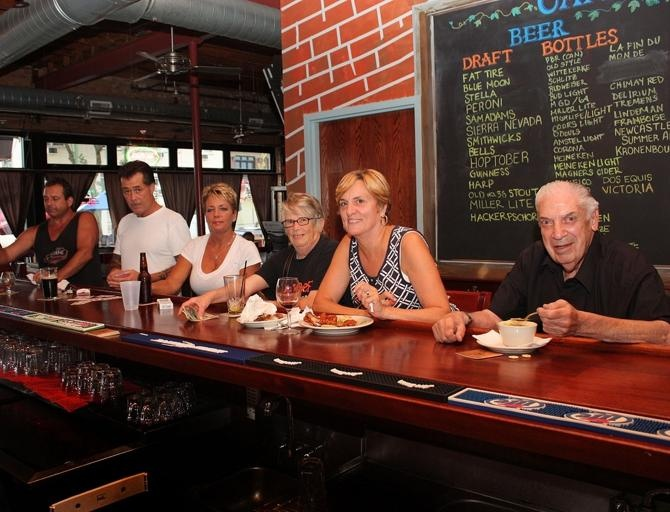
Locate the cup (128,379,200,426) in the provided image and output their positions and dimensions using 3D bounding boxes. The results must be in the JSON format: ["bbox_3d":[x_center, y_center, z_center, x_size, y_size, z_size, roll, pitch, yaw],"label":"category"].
[{"bbox_3d":[-0.737,0.645,2.118,0.182,0.072,0.236,-3,5,-12],"label":"cup"}]

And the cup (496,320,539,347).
[{"bbox_3d":[0.606,0.253,1.598,0.108,0.081,0.102,-3,7,0],"label":"cup"}]

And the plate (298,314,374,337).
[{"bbox_3d":[0.018,0.282,1.964,0.312,0.064,0.190,-3,7,-4],"label":"plate"}]

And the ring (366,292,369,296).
[{"bbox_3d":[0.137,0.157,2.016,0.014,0.011,0.004,-2,-26,5],"label":"ring"}]

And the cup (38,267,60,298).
[{"bbox_3d":[-1.818,0.168,3.087,0.090,0.202,0.188,-8,9,-30],"label":"cup"}]

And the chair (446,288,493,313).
[{"bbox_3d":[0.737,0.237,2.603,0.153,0.221,0.145,-2,-5,33],"label":"chair"}]

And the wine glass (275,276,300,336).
[{"bbox_3d":[-0.193,0.190,2.073,0.094,0.232,0.243,-5,8,-6],"label":"wine glass"}]

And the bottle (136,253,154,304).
[{"bbox_3d":[-1.132,0.127,2.860,0.072,0.296,0.233,-7,9,-20],"label":"bottle"}]

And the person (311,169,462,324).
[{"bbox_3d":[0.278,-0.076,2.709,0.868,0.816,0.791,2,-2,-43],"label":"person"}]

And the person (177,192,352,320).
[{"bbox_3d":[-0.421,-0.034,3.253,1.008,0.848,0.618,6,-3,-35],"label":"person"}]

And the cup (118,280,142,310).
[{"bbox_3d":[-1.130,0.211,2.686,0.100,0.157,0.227,-7,8,-23],"label":"cup"}]
